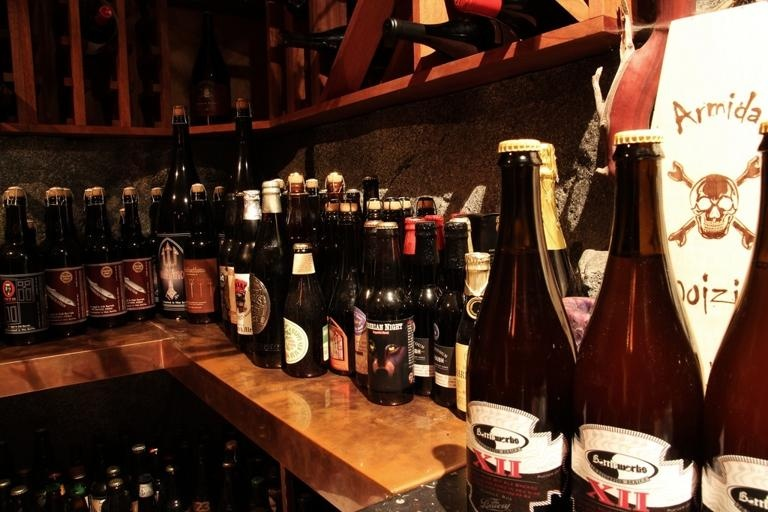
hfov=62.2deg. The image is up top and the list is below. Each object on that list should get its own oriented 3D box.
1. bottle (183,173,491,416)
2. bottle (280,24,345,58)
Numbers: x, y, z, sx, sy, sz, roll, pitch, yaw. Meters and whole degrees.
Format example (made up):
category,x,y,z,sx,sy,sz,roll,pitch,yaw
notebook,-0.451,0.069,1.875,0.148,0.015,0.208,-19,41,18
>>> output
category,x,y,z,sx,sy,sz,roll,pitch,yaw
bottle,-0.073,0.070,1.471,0.630,0.445,0.230,4,10,37
bottle,-0.205,-0.624,1.839,0.129,0.073,0.109,-6,22,-30
